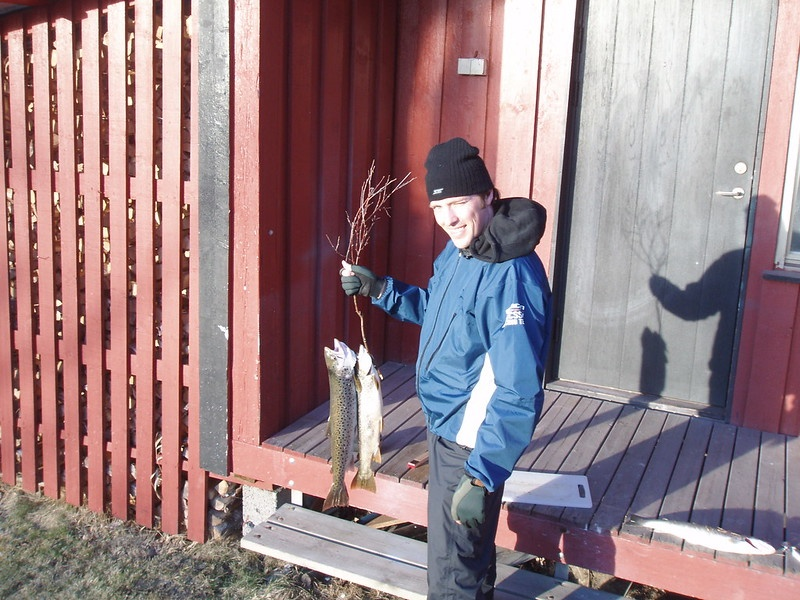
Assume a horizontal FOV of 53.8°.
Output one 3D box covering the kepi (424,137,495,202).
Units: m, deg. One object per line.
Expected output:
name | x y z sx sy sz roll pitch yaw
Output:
kepi | 0.350 -0.709 4.350 0.264 0.309 0.369 -14 2 26

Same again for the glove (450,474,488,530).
glove | 0.346 1.027 4.064 0.197 0.258 0.089 26 1 -35

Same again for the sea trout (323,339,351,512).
sea trout | -0.364 0.750 4.858 0.209 1.080 0.208 3 14 7

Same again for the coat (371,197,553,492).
coat | 0.444 0.188 4.197 0.761 1.481 0.489 6 6 39
